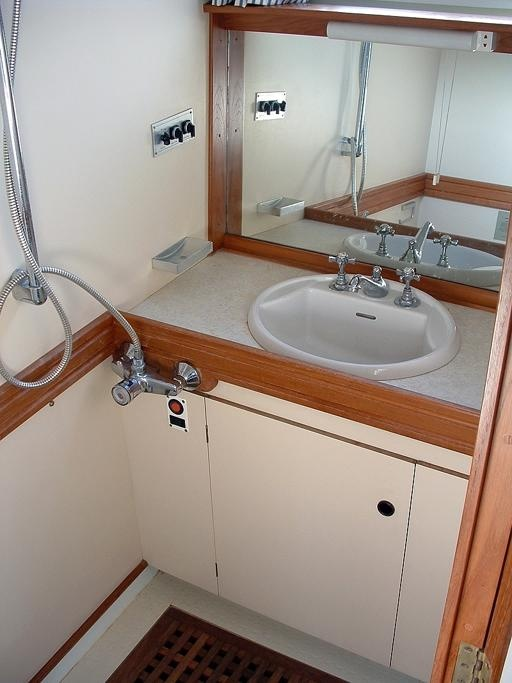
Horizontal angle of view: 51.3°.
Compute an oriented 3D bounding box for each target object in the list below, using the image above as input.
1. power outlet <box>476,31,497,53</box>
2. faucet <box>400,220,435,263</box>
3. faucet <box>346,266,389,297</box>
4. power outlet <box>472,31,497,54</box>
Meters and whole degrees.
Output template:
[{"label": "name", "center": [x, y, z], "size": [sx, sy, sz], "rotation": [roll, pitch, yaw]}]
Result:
[{"label": "power outlet", "center": [0.510, -0.661, 1.178], "size": [0.039, 0.039, 0.041], "rotation": [9, 29, 27]}, {"label": "faucet", "center": [0.464, -0.278, 1.563], "size": [0.043, 0.140, 0.053], "rotation": [30, 20, 29]}, {"label": "faucet", "center": [0.319, -0.187, 1.566], "size": [0.126, 0.086, 0.064], "rotation": [25, 46, 24]}, {"label": "power outlet", "center": [0.505, -0.663, 1.179], "size": [0.054, 0.055, 0.037], "rotation": [12, 30, 28]}]
